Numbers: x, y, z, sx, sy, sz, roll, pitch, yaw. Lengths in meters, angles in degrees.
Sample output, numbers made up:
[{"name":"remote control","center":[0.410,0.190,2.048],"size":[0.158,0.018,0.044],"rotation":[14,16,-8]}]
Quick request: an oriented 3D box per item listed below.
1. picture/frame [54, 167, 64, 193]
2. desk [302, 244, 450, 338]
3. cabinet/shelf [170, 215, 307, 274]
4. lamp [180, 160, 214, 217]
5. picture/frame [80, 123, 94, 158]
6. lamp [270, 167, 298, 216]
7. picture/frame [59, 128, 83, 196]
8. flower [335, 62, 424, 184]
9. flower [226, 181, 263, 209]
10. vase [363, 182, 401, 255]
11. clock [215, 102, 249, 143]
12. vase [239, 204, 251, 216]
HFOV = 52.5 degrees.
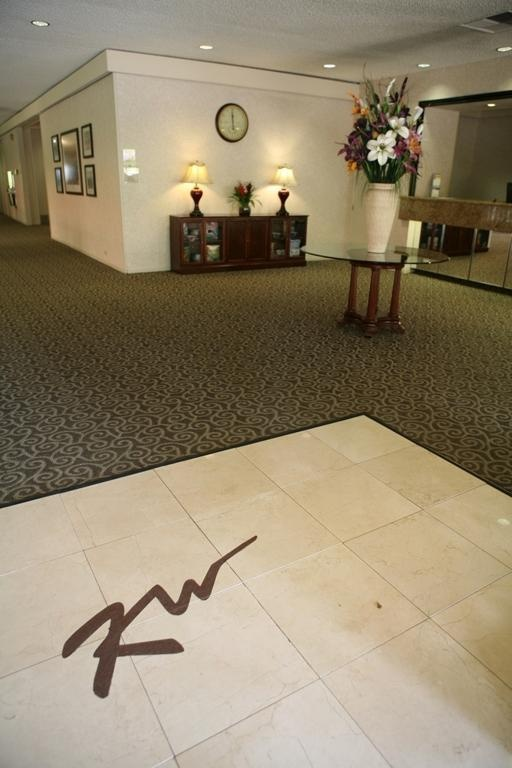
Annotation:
[{"name":"picture/frame","center":[-3.838,-3.996,10.109],"size":[0.038,0.513,0.493],"rotation":[-18,37,-34]},{"name":"desk","center":[1.108,-0.855,4.897],"size":[1.293,0.690,1.277],"rotation":[13,17,35]},{"name":"cabinet/shelf","center":[-0.203,-2.183,8.022],"size":[2.118,0.805,0.428],"rotation":[-11,26,-27]},{"name":"lamp","center":[-0.834,-2.830,7.516],"size":[0.428,0.781,0.496],"rotation":[-5,19,-21]},{"name":"picture/frame","center":[-2.619,-3.809,8.057],"size":[0.042,0.592,0.561],"rotation":[-9,20,-38]},{"name":"lamp","center":[0.436,-3.102,8.336],"size":[0.467,0.720,0.447],"rotation":[11,18,23]},{"name":"picture/frame","center":[-3.197,-3.905,9.010],"size":[0.058,1.188,1.111],"rotation":[-17,43,-34]},{"name":"flower","center":[1.037,-2.053,4.220],"size":[0.616,0.778,0.510],"rotation":[7,18,13]},{"name":"flower","center":[-0.159,-2.926,8.033],"size":[0.491,0.470,0.476],"rotation":[-7,25,-19]},{"name":"vase","center":[1.084,-1.462,4.616],"size":[0.265,0.583,0.247],"rotation":[6,18,9]},{"name":"clock","center":[-0.373,-3.864,7.614],"size":[0.491,0.464,0.066],"rotation":[-32,38,-29]},{"name":"vase","center":[-0.164,-2.615,7.867],"size":[0.183,0.165,0.181],"rotation":[4,10,28]}]
